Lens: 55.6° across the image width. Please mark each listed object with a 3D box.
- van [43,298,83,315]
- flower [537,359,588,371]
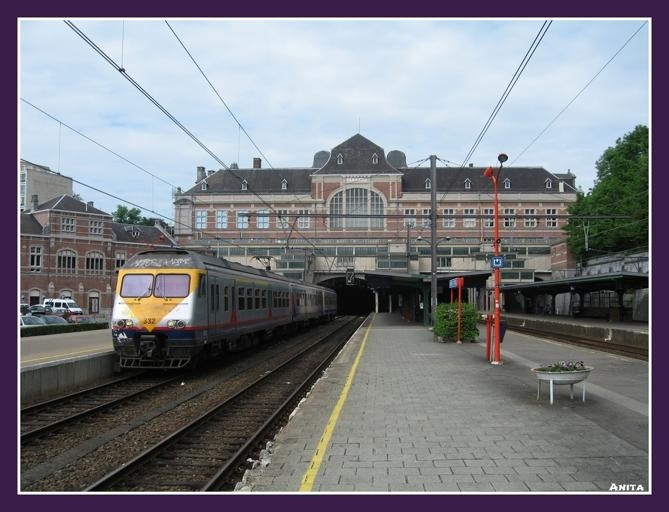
[{"bbox_3d":[-26.053,4.778,60.204,2.987,1.495,1.599,-1,-2,7],"label":"van"},{"bbox_3d":[4.374,2.194,12.522,0.676,0.149,0.716,3,-8,-35],"label":"flower"}]
